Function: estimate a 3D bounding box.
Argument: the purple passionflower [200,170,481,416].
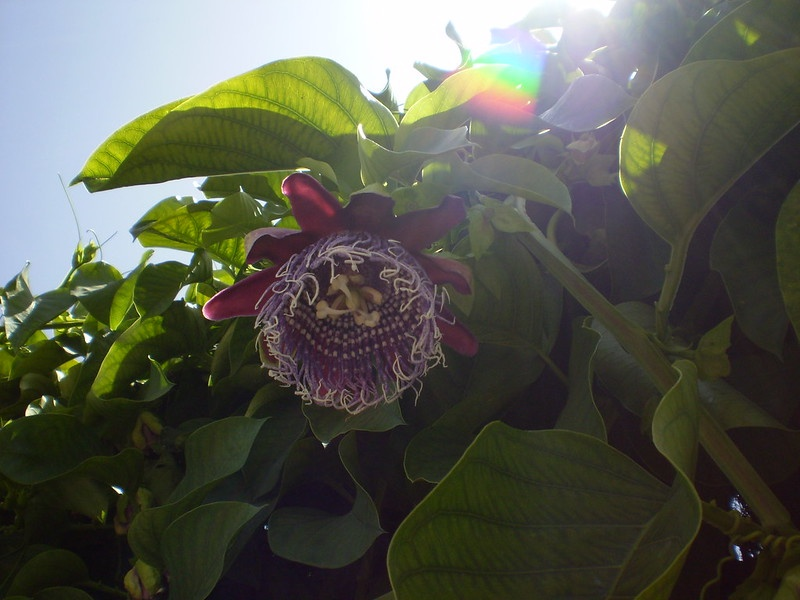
[{"bbox_3d":[-0.064,0.007,0.812,0.304,0.167,0.241,-5,-43,-13],"label":"purple passionflower"}]
